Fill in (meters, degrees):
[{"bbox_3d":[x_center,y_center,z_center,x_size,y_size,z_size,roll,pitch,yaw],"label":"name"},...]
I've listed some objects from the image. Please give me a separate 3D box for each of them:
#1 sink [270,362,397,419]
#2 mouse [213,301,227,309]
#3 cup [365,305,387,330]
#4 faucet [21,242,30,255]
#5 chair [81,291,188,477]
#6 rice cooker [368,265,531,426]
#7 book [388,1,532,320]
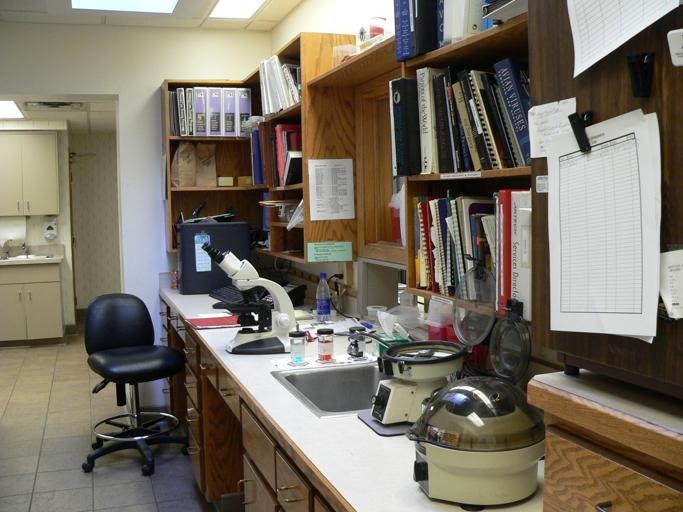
[{"bbox_3d":[-0.017,0.528,2.085,0.285,0.130,0.242,0,1,-17],"label":"sink"},{"bbox_3d":[-0.591,0.235,2.539,0.058,0.032,0.086,0,2,-15],"label":"mouse"},{"bbox_3d":[0.174,0.309,2.680,0.094,0.075,0.095,1,9,0],"label":"cup"},{"bbox_3d":[-4.240,-0.102,7.012,0.079,0.165,0.140,-3,4,-31],"label":"faucet"},{"bbox_3d":[-1.444,0.732,3.535,0.720,1.185,0.754,-2,2,-37],"label":"chair"},{"bbox_3d":[0.305,0.286,1.711,0.412,0.502,0.544,-1,3,-12],"label":"rice cooker"},{"bbox_3d":[0.354,-0.311,1.585,0.150,0.762,0.370,0,7,-22],"label":"book"}]
